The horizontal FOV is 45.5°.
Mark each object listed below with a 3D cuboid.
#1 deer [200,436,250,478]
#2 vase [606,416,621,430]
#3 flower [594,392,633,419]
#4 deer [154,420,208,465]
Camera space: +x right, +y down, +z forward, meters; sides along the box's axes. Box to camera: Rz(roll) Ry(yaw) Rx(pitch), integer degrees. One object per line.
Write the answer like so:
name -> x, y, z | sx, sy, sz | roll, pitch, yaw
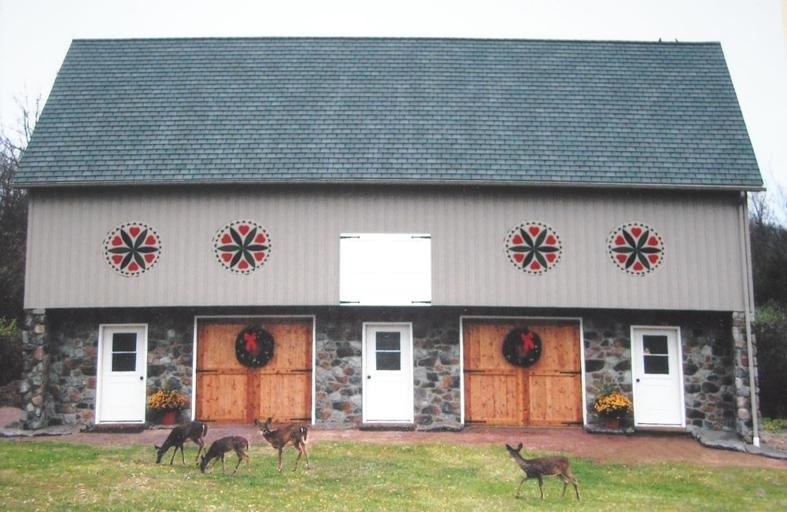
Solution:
deer -> -4.751, 5.567, 26.340 | 1.434, 1.025, 0.390 | -10, -4, -16
vase -> 6.873, 5.174, 29.343 | 0.388, 0.392, 0.207 | 0, -6, 0
flower -> 6.889, 4.622, 29.335 | 0.901, 0.592, 0.827 | 1, -2, -15
deer -> -5.997, 5.178, 26.724 | 1.926, 1.495, 1.043 | -3, -2, 29
